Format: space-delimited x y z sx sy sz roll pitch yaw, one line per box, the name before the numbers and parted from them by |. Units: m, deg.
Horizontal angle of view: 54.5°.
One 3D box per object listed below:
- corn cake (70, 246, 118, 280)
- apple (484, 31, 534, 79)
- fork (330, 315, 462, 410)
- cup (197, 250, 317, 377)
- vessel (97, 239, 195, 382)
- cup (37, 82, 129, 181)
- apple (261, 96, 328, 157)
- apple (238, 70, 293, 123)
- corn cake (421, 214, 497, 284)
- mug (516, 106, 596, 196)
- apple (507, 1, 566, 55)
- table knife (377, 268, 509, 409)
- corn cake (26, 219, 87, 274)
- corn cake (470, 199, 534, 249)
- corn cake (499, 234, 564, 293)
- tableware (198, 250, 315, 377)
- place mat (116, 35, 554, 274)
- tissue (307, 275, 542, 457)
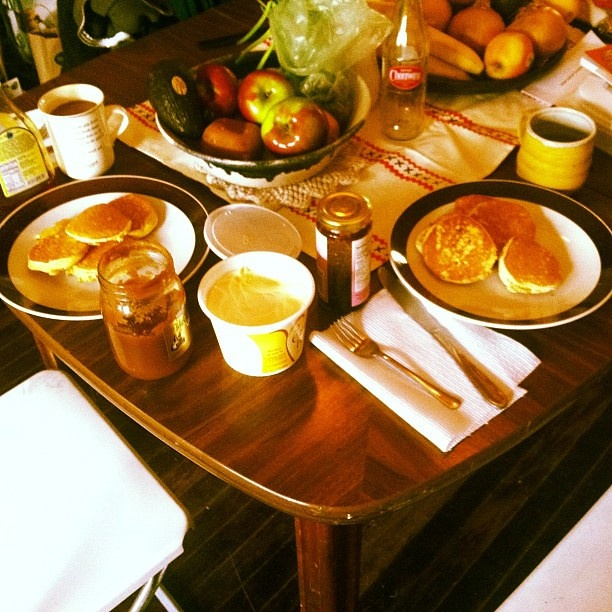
corn cake | -0.248 -0.048 0.679 0.060 0.013 0.056 0 50 -3
apple | 0.330 -0.405 0.958 0.058 0.057 0.069 21 40 18
fork | 0.086 0.058 0.574 0.118 0.013 0.021 38 58 19
cup | -0.027 0.011 0.630 0.127 0.086 0.119 -1 45 1
vessel | -0.156 0.009 0.578 0.082 0.125 0.080 21 47 19
cup | -0.301 -0.245 0.848 0.073 0.105 0.111 30 48 29
apple | -0.009 -0.227 0.778 0.081 0.078 0.082 -1 14 12
apple | -0.058 -0.301 0.879 0.079 0.074 0.088 0 10 -3
corn cake | 0.167 -0.078 0.643 0.080 0.018 0.072 -22 47 -2
mug | 0.321 -0.200 0.767 0.088 0.077 0.088 30 62 28
apple | 0.390 -0.460 0.981 0.093 0.090 0.088 -8 25 19
table knife | 0.137 0.036 0.589 0.026 0.009 0.189 -34 56 -12
corn cake | -0.278 -0.061 0.690 0.059 0.015 0.060 -35 45 -8
corn cake | 0.220 -0.096 0.664 0.064 0.015 0.062 23 73 16
corn cake | 0.230 -0.042 0.618 0.063 0.028 0.058 -9 54 -9
tableware | -0.035 0.013 0.633 0.120 0.086 0.125 29 51 27
place mat | 0.124 -0.215 0.876 0.461 0.022 0.414 -25 50 -23
tissue | 0.120 0.047 0.588 0.148 0.027 0.183 -31 50 -28
